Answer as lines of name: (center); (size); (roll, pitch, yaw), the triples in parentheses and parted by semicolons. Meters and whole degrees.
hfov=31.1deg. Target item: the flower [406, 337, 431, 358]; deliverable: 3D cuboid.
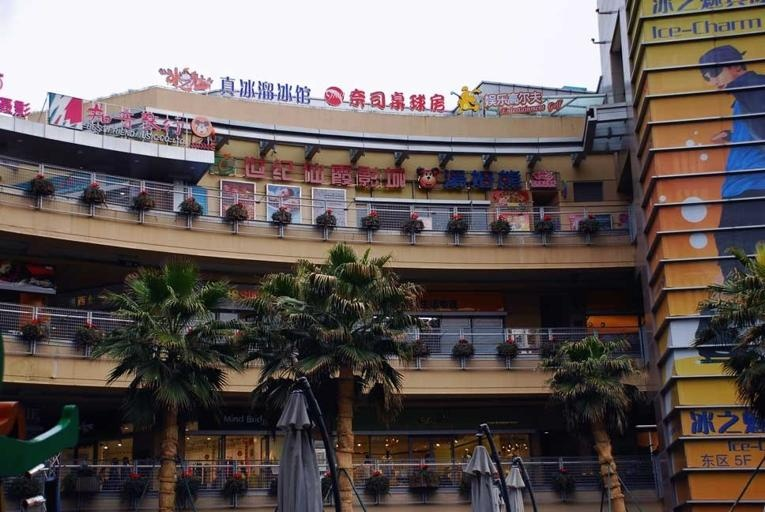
flower: (1.703, 3.795, 56.856); (0.962, 1.018, 1.007); (0, 5, 31)

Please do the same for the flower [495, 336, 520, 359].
flower: (5.260, 3.938, 57.613); (0.784, 0.865, 0.790); (0, -3, -28)

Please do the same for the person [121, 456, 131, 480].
person: (-9.954, 8.284, 53.379); (0.367, 1.116, 2.036); (1, -18, -10)

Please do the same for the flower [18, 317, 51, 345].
flower: (-13.290, 2.898, 52.429); (0.927, 0.890, 0.921); (-1, 2, 7)

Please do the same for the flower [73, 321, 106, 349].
flower: (-11.429, 3.173, 53.222); (1.041, 0.827, 1.059); (-3, 12, -14)

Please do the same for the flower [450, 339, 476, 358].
flower: (3.358, 3.905, 57.459); (0.769, 0.703, 0.789); (0, 2, -2)
